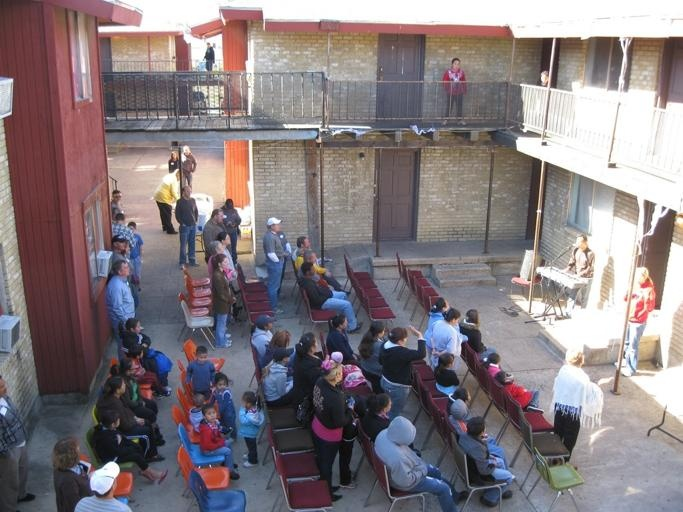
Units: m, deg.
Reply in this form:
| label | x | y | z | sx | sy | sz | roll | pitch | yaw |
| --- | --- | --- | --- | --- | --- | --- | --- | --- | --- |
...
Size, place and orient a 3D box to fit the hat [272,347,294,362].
| label | x | y | z | sx | sy | sz | roll | pitch | yaw |
| --- | --- | --- | --- | --- | --- | --- | --- | --- | --- |
| hat | -0.892 | 1.583 | 9.057 | 0.321 | 0.128 | 0.204 | -13 | 25 | -40 |

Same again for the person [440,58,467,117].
| label | x | y | z | sx | sy | sz | roll | pitch | yaw |
| --- | --- | --- | --- | --- | --- | --- | --- | --- | --- |
| person | 3.076 | -4.587 | 15.517 | 0.588 | 1.623 | 0.959 | 13 | 23 | 39 |

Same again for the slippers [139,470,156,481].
| label | x | y | z | sx | sy | sz | roll | pitch | yaw |
| --- | --- | --- | --- | --- | --- | --- | --- | --- | --- |
| slippers | -2.846 | 3.254 | 8.407 | 0.235 | 0.178 | 0.082 | 23 | 16 | -17 |

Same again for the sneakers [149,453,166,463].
| label | x | y | z | sx | sy | sz | roll | pitch | yaw |
| --- | --- | --- | --- | --- | --- | --- | --- | --- | --- |
| sneakers | -2.832 | 3.142 | 8.793 | 0.240 | 0.112 | 0.084 | 0 | 24 | -24 |

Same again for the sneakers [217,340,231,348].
| label | x | y | z | sx | sy | sz | roll | pitch | yaw |
| --- | --- | --- | --- | --- | --- | --- | --- | --- | --- |
| sneakers | -2.443 | 1.848 | 11.889 | 0.260 | 0.136 | 0.129 | -3 | 18 | -13 |

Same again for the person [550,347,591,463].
| label | x | y | z | sx | sy | sz | roll | pitch | yaw |
| --- | --- | --- | --- | --- | --- | --- | --- | --- | --- |
| person | 3.410 | 2.161 | 8.528 | 0.504 | 1.536 | 0.530 | -11 | 19 | -27 |

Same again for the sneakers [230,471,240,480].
| label | x | y | z | sx | sy | sz | roll | pitch | yaw |
| --- | --- | --- | --- | --- | --- | --- | --- | --- | --- |
| sneakers | -1.579 | 3.290 | 8.555 | 0.153 | 0.165 | 0.084 | 0 | 18 | -8 |

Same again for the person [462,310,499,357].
| label | x | y | z | sx | sy | sz | roll | pitch | yaw |
| --- | --- | --- | --- | --- | --- | --- | --- | --- | --- |
| person | 2.699 | 1.545 | 11.114 | 0.507 | 0.953 | 0.404 | -29 | 39 | -21 |

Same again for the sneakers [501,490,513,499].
| label | x | y | z | sx | sy | sz | roll | pitch | yaw |
| --- | --- | --- | --- | --- | --- | --- | --- | --- | --- |
| sneakers | 2.419 | 3.506 | 8.326 | 0.193 | 0.092 | 0.075 | -13 | 19 | -29 |

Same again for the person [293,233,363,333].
| label | x | y | z | sx | sy | sz | roll | pitch | yaw |
| --- | --- | --- | --- | --- | --- | --- | --- | --- | --- |
| person | -0.349 | 0.687 | 13.279 | 1.254 | 2.285 | 0.857 | -16 | 38 | -3 |

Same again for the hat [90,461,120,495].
| label | x | y | z | sx | sy | sz | roll | pitch | yaw |
| --- | --- | --- | --- | --- | --- | --- | --- | --- | --- |
| hat | -2.632 | 2.530 | 6.415 | 0.239 | 0.140 | 0.360 | 24 | 56 | 4 |

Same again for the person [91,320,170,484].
| label | x | y | z | sx | sy | sz | roll | pitch | yaw |
| --- | --- | --- | --- | --- | --- | --- | --- | --- | --- |
| person | -3.441 | 2.078 | 9.016 | 1.502 | 2.736 | 1.024 | 0 | 30 | -14 |

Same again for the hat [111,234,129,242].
| label | x | y | z | sx | sy | sz | roll | pitch | yaw |
| --- | --- | --- | --- | --- | --- | --- | --- | --- | --- |
| hat | -4.615 | -0.382 | 11.872 | 0.244 | 0.108 | 0.174 | -4 | 10 | -22 |

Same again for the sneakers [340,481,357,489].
| label | x | y | z | sx | sy | sz | roll | pitch | yaw |
| --- | --- | --- | --- | --- | --- | --- | --- | --- | --- |
| sneakers | 0.110 | 3.448 | 8.504 | 0.204 | 0.105 | 0.099 | -5 | 18 | -14 |

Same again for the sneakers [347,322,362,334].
| label | x | y | z | sx | sy | sz | roll | pitch | yaw |
| --- | --- | --- | --- | --- | --- | --- | --- | --- | --- |
| sneakers | 0.304 | 1.601 | 12.520 | 0.343 | 0.264 | 0.141 | -19 | 33 | -19 |

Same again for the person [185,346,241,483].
| label | x | y | z | sx | sy | sz | roll | pitch | yaw |
| --- | --- | --- | --- | --- | --- | --- | --- | --- | --- |
| person | -1.989 | 2.515 | 8.801 | 0.518 | 0.860 | 1.664 | -5 | 39 | -9 |

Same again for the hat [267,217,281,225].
| label | x | y | z | sx | sy | sz | roll | pitch | yaw |
| --- | --- | --- | --- | --- | --- | --- | --- | --- | --- |
| hat | -1.601 | -0.824 | 13.394 | 0.249 | 0.220 | 0.361 | -5 | 18 | -10 |

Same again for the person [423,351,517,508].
| label | x | y | z | sx | sy | sz | roll | pitch | yaw |
| --- | --- | --- | --- | --- | --- | --- | --- | --- | --- |
| person | 1.949 | 2.720 | 8.736 | 0.570 | 1.193 | 1.547 | -16 | 31 | -2 |

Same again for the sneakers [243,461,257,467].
| label | x | y | z | sx | sy | sz | roll | pitch | yaw |
| --- | --- | --- | --- | --- | --- | --- | --- | --- | --- |
| sneakers | -1.419 | 3.226 | 8.787 | 0.166 | 0.081 | 0.074 | 2 | 16 | 0 |

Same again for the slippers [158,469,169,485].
| label | x | y | z | sx | sy | sz | roll | pitch | yaw |
| --- | --- | --- | --- | --- | --- | --- | --- | --- | --- |
| slippers | -2.636 | 3.309 | 8.479 | 0.087 | 0.216 | 0.075 | 25 | -11 | -24 |

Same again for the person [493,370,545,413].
| label | x | y | z | sx | sy | sz | roll | pitch | yaw |
| --- | --- | --- | --- | --- | --- | --- | --- | --- | --- |
| person | 2.887 | 2.212 | 9.334 | 0.443 | 0.856 | 0.358 | -33 | 4 | -10 |

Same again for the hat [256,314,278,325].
| label | x | y | z | sx | sy | sz | roll | pitch | yaw |
| --- | --- | --- | --- | --- | --- | --- | --- | --- | --- |
| hat | -1.285 | 1.161 | 9.982 | 0.313 | 0.126 | 0.202 | -5 | 12 | -38 |
